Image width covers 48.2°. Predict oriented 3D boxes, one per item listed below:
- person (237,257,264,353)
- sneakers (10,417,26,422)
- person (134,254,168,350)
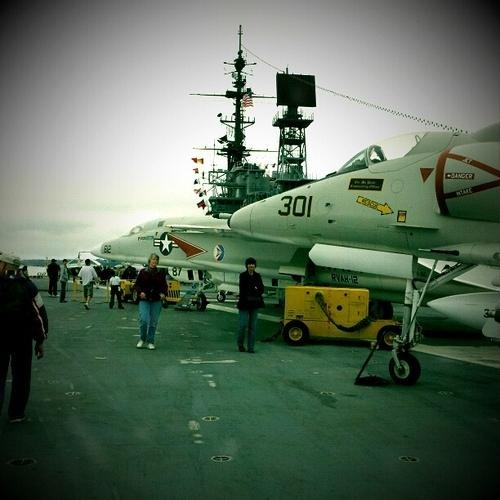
[{"bbox_3d":[-0.027,1.008,10.176,0.459,1.573,0.410,3,-1,15],"label":"person"},{"bbox_3d":[-2.311,1.700,5.546,0.130,0.036,0.044,10,49,2],"label":"sneakers"},{"bbox_3d":[-1.871,0.956,10.408,0.574,1.681,0.781,3,-1,-9],"label":"person"}]
